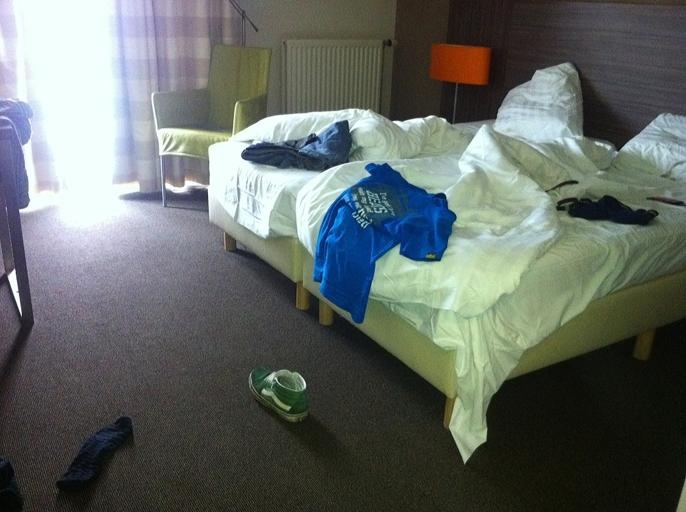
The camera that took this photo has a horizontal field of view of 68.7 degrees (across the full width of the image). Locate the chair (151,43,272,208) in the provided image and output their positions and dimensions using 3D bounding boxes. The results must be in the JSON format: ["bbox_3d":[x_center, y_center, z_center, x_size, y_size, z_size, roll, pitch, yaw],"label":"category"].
[{"bbox_3d":[-0.949,-1.039,3.930,0.717,1.126,0.789,10,20,16],"label":"chair"}]

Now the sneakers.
[{"bbox_3d":[-0.264,0.531,2.033,0.131,0.137,0.278,-11,30,-40],"label":"sneakers"}]
